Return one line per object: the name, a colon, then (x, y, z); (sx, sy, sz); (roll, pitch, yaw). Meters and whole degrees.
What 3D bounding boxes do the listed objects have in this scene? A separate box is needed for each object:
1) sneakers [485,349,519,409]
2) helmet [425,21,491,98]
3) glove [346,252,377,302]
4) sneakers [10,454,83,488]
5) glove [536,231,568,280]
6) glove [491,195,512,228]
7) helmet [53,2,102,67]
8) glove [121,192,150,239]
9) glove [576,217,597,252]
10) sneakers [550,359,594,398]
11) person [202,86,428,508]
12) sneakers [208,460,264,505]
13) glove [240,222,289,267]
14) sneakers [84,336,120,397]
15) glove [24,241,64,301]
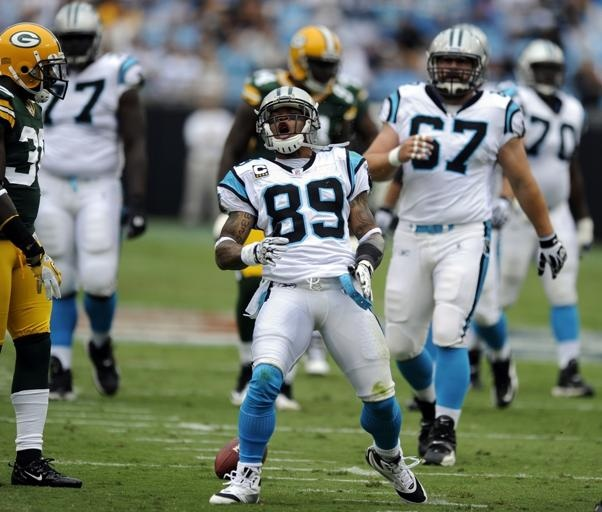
sneakers: (1.431, 0.874, 6.595); (0.139, 0.424, 0.189); (0, 13, 18)
helmet: (0.900, -1.095, 5.160); (0.308, 0.385, 0.411); (0, 1, 14)
glove: (0.282, 0.089, 4.131); (0.066, 0.173, 0.120); (-22, -15, 28)
sneakers: (-1.215, 1.030, 4.387); (0.386, 0.166, 0.133); (2, -5, 2)
glove: (1.420, -0.011, 5.168); (0.180, 0.252, 0.092); (11, 28, 32)
glove: (1.222, -0.268, 5.653); (0.124, 0.173, 0.068); (-1, -11, 29)
helmet: (-1.425, -1.537, 6.374); (0.359, 0.456, 0.502); (-2, 21, -3)
glove: (-1.083, -0.267, 6.007); (0.150, 0.284, 0.115); (2, -18, -4)
glove: (2.383, -0.178, 7.762); (0.206, 0.291, 0.104); (0, 0, 8)
sneakers: (2.022, 0.914, 6.921); (0.271, 0.307, 0.286); (0, -4, 2)
person: (0.061, 0.158, 4.304); (0.918, 1.932, 0.505); (2, 1, -7)
sneakers: (-0.260, 1.017, 4.108); (0.287, 0.187, 0.114); (1, 1, -41)
glove: (-0.162, -0.014, 4.146); (0.175, 0.125, 0.065); (-22, -17, 35)
sneakers: (-1.271, 0.722, 5.988); (0.185, 0.382, 0.208); (1, 1, -21)
glove: (-1.175, 0.072, 4.342); (0.158, 0.253, 0.074); (0, 29, 35)
